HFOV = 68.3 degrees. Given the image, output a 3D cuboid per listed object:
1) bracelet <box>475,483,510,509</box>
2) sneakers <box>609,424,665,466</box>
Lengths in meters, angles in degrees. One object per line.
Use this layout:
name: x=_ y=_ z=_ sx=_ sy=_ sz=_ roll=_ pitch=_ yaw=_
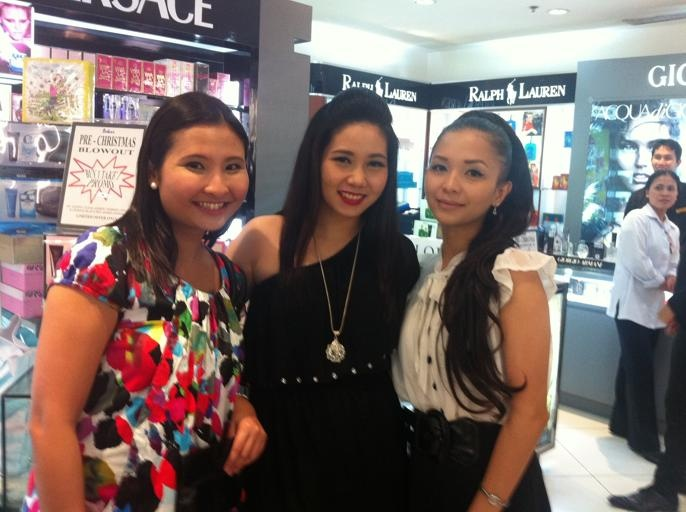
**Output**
bracelet: x=0.509 y=0.818 z=1.696 sx=0.079 sy=0.041 sz=0.078 roll=29 pitch=1 yaw=-16
sneakers: x=2.580 y=1.661 z=4.409 sx=0.099 sy=0.138 sz=0.333 roll=-22 pitch=14 yaw=0
